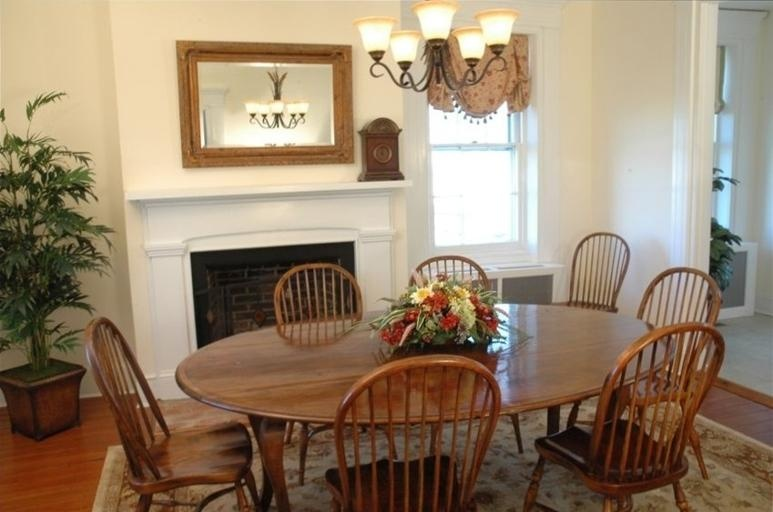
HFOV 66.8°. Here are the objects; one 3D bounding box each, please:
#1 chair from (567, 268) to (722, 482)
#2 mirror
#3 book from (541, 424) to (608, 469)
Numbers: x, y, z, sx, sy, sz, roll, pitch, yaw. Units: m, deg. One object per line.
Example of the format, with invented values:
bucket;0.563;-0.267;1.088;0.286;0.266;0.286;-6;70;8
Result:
chair;1.698;0.749;4.160;1.044;1.374;0.971;-1;6;-29
mirror;-1.041;-1.261;4.749;1.125;0.754;0.047;-1;5;-16
book;0.978;0.969;3.080;0.219;0.051;0.215;-6;10;-36
